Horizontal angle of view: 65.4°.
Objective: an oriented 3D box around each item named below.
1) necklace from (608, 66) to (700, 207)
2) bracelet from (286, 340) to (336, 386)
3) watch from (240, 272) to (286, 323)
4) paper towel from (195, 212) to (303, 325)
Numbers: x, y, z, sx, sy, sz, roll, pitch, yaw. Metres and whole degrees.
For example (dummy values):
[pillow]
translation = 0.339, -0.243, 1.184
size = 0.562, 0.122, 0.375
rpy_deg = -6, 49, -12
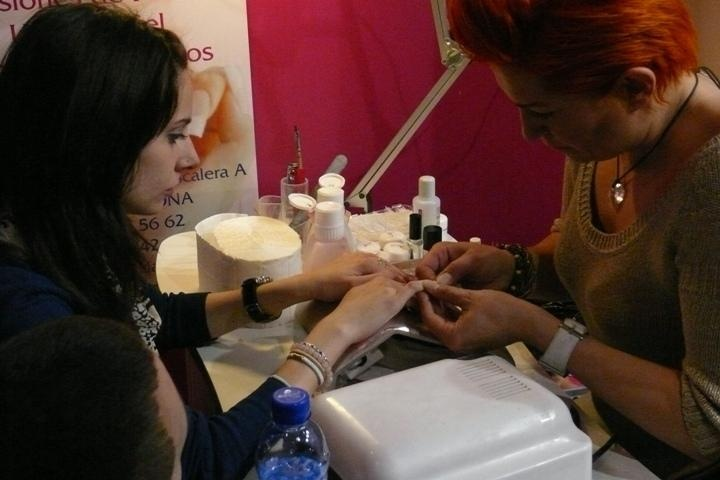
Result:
[necklace]
translation = 0.587, -0.187, 1.164
size = 0.041, 0.276, 0.172
rpy_deg = 27, 28, 8
[bracelet]
translation = -0.092, 0.230, 1.079
size = 0.034, 0.081, 0.072
rpy_deg = -38, 54, -15
[watch]
translation = -0.239, 0.158, 1.382
size = 0.074, 0.117, 0.117
rpy_deg = -19, 52, 11
[paper towel]
translation = -0.278, 0.028, 1.382
size = 0.258, 0.174, 0.263
rpy_deg = 1, 26, -5
